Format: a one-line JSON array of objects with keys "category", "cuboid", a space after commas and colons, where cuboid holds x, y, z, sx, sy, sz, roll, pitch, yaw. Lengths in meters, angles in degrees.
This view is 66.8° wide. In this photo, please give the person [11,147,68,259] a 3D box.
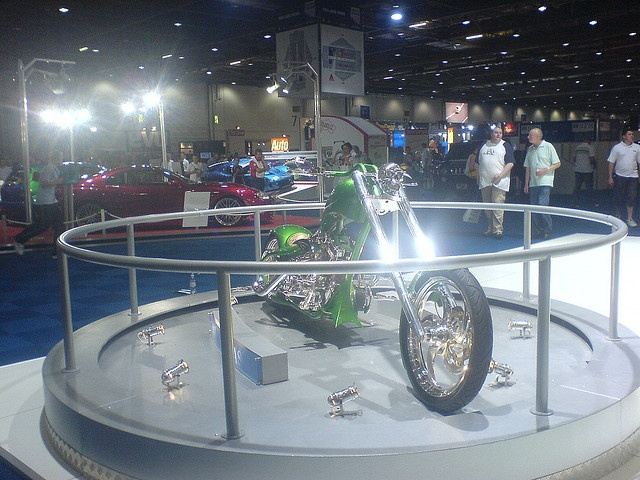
[{"category": "person", "cuboid": [-4.761, -0.632, 8.346, 0.900, 1.700, 0.799, -2, 10, 0]}]

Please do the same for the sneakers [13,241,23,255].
[{"category": "sneakers", "cuboid": [-5.211, 0.127, 8.410, 0.085, 0.220, 0.076, -20, -8, -6]}]

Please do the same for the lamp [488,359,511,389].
[{"category": "lamp", "cuboid": [1.270, 0.906, 3.394, 0.157, 0.204, 0.275, 2, 12, 20]}]

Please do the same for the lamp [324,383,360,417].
[{"category": "lamp", "cuboid": [0.151, 1.013, 3.062, 0.229, 0.280, 0.083, 0, 22, 11]}]

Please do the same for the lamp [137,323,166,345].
[{"category": "lamp", "cuboid": [-1.464, 0.800, 4.277, 0.243, 0.192, 0.139, -14, 11, -5]}]

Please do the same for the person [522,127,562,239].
[{"category": "person", "cuboid": [4.039, -1.044, 8.899, 0.586, 1.984, 1.080, 3, 11, 26]}]

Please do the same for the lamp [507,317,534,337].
[{"category": "lamp", "cuboid": [1.724, 0.742, 4.176, 0.175, 0.111, 0.139, 2, 15, 9]}]

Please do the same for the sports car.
[{"category": "sports car", "cuboid": [-3.427, -1.145, 11.358, 3.884, 1.346, 1.859, -3, 10, -12]}]

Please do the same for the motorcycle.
[{"category": "motorcycle", "cuboid": [0.235, 0.093, 4.280, 0.992, 1.564, 3.167, -5, 12, -31]}]

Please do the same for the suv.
[{"category": "suv", "cuboid": [5.383, -2.778, 18.085, 1.803, 2.128, 3.713, -2, 10, 21]}]

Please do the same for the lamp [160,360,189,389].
[{"category": "lamp", "cuboid": [-1.045, 0.941, 3.506, 0.197, 0.195, 0.248, -6, 12, -20]}]
